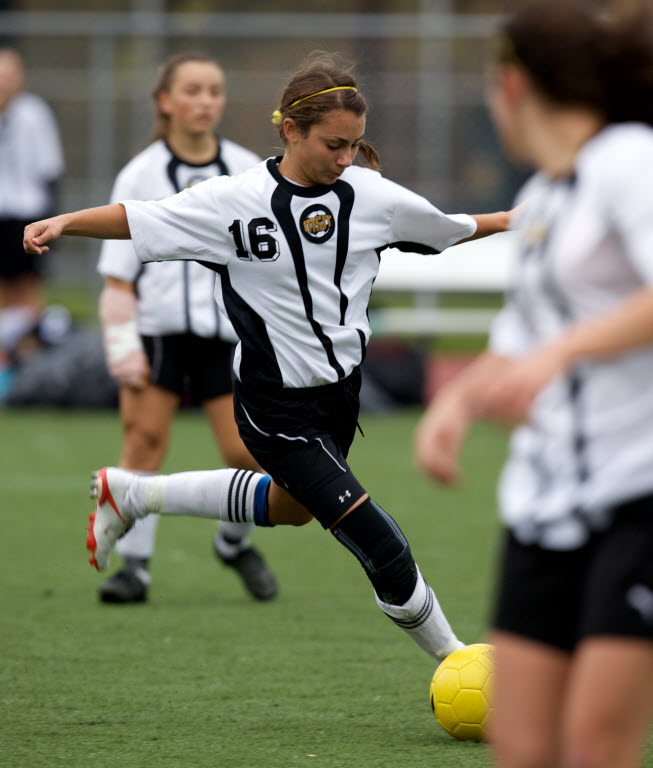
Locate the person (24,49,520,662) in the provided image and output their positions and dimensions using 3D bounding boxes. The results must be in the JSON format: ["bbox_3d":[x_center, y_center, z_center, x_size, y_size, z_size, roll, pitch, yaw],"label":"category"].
[{"bbox_3d":[-0.075,0.024,2.917,1.526,1.687,0.909,0,10,12],"label":"person"}]

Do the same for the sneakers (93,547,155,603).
[{"bbox_3d":[-0.796,0.798,4.094,0.107,0.189,0.308,-2,-11,27],"label":"sneakers"}]

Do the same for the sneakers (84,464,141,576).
[{"bbox_3d":[-0.688,0.435,3.274,0.140,0.341,0.162,9,22,-10],"label":"sneakers"}]

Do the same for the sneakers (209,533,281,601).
[{"bbox_3d":[-0.356,0.750,4.176,0.136,0.368,0.160,-46,11,-9],"label":"sneakers"}]
